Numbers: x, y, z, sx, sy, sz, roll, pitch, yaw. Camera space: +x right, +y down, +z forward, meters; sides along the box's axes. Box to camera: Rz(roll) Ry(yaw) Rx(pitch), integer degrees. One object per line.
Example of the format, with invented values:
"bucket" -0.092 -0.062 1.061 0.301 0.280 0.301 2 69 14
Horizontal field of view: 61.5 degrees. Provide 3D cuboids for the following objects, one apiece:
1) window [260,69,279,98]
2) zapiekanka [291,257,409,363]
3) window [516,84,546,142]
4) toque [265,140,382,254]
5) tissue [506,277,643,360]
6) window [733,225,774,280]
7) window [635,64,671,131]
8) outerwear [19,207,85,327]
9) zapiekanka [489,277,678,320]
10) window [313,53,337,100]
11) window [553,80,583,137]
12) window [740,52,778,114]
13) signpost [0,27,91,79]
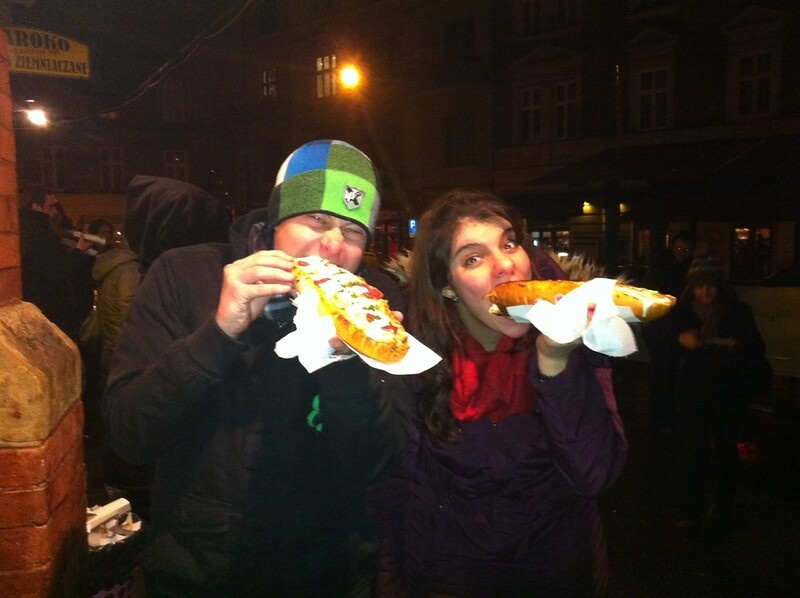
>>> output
"window" -6.415 -10.446 32.853 0.350 1.427 1.306 -5 11 -42
"zapiekanka" -0.236 0.041 3.369 0.695 0.142 0.371 44 33 17
"window" 4.109 -5.656 20.824 0.578 1.619 1.579 1 8 -9
"toque" -0.391 -0.585 3.742 0.569 0.492 0.553 13 11 -7
"tissue" 0.830 0.086 3.197 0.444 0.165 0.395 7 51 35
"window" 9.172 -1.171 17.423 1.172 1.393 0.047 2 -6 0
"window" 6.148 -4.778 16.219 0.099 1.530 1.242 -10 14 -20
"outerwear" -3.641 -0.261 7.117 0.510 1.347 2.000 0 8 -18
"zapiekanka" 0.907 -0.005 3.321 0.665 0.154 0.355 -4 4 1
"window" -3.281 -9.644 29.356 0.565 1.696 1.742 -2 9 -30
"window" 4.875 -5.527 19.394 0.146 1.683 1.403 -22 25 -31
"window" 7.428 -4.465 14.020 0.712 1.164 0.870 6 9 26
"signpost" -2.299 -1.600 4.415 0.474 0.262 0.193 -1 9 -25
